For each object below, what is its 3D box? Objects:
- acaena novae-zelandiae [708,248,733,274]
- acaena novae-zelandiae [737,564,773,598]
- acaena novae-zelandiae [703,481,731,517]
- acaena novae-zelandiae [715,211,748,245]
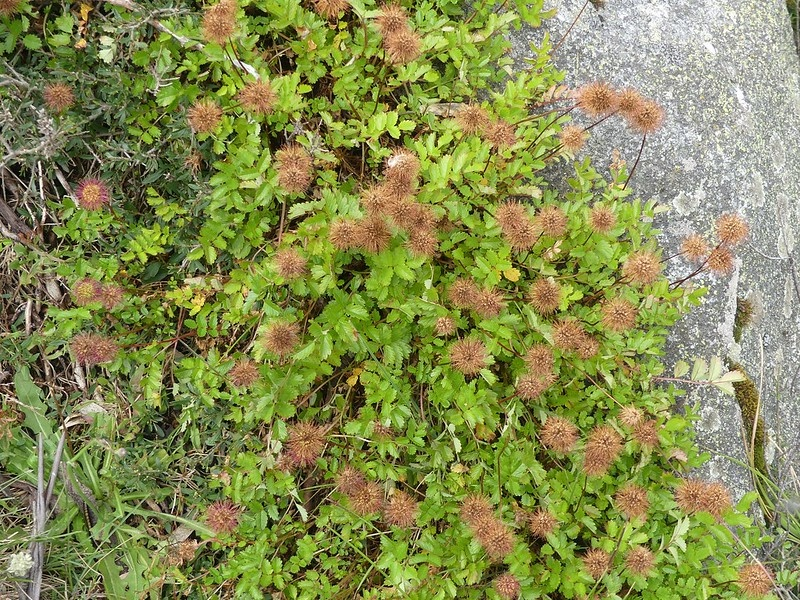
[{"bbox_3d":[1.573,-0.191,3.410,0.094,0.102,0.109,-3,103,9],"label":"acaena novae-zelandiae"},{"bbox_3d":[1.599,1.265,3.126,0.140,0.094,0.158,-22,79,19],"label":"acaena novae-zelandiae"},{"bbox_3d":[1.443,0.919,3.168,0.135,0.039,0.141,16,82,-3],"label":"acaena novae-zelandiae"},{"bbox_3d":[1.662,-0.362,3.488,0.120,0.132,0.134,13,55,9],"label":"acaena novae-zelandiae"}]
